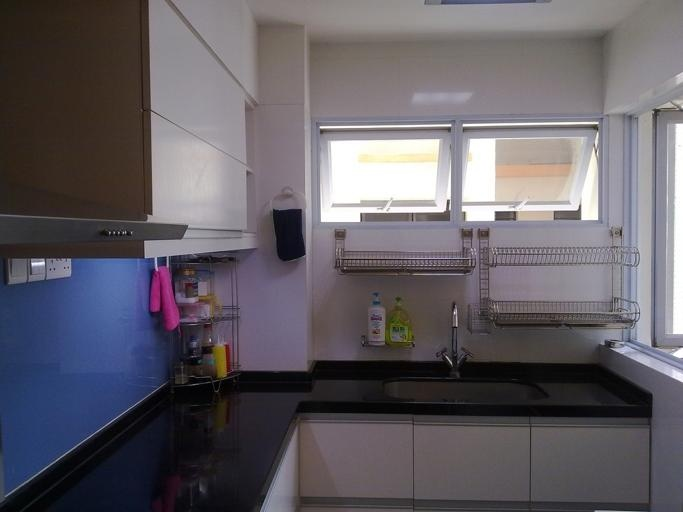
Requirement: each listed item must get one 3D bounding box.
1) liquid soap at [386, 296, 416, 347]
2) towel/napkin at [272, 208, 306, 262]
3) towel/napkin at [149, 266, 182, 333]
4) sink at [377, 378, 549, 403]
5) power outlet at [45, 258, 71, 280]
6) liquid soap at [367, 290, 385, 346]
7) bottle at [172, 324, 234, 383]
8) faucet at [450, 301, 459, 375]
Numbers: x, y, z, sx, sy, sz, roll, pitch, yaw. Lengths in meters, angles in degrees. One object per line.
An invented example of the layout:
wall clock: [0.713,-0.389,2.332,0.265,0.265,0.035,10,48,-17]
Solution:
liquid soap: [0.366,0.406,3.530,0.183,0.300,0.140,-1,2,6]
towel/napkin: [-0.307,-0.124,3.203,0.192,0.291,0.076,-5,4,2]
towel/napkin: [-0.944,0.220,2.995,0.146,0.325,0.094,-2,2,-18]
sink: [0.742,0.818,3.411,0.959,0.164,0.203,-1,3,10]
power outlet: [-1.216,0.055,2.423,0.075,0.104,0.148,-1,-1,11]
liquid soap: [0.219,0.390,3.531,0.114,0.321,0.138,-1,2,4]
bottle: [-0.781,0.549,3.254,0.369,0.313,0.262,-2,3,-22]
faucet: [0.704,0.499,3.496,0.049,0.436,0.173,-1,2,11]
